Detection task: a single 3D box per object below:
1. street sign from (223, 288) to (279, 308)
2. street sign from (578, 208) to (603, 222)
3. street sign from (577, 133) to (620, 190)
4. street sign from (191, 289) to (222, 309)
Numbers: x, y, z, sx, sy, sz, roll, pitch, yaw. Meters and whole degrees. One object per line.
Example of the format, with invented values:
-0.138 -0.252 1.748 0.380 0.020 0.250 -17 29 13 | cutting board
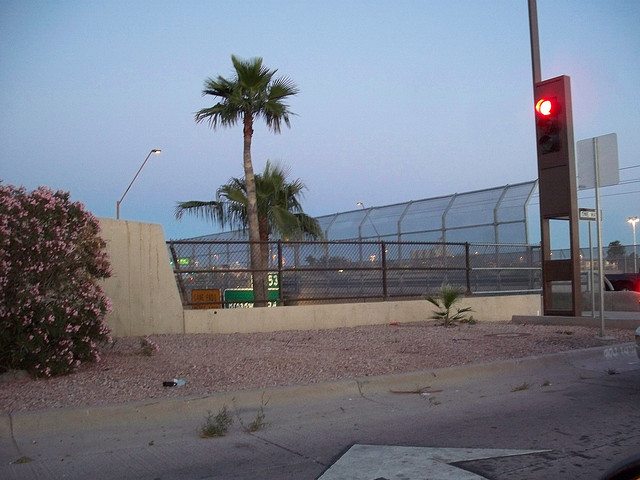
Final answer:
-1.749 1.476 14.544 1.394 0.497 0.942 0 2 -14 | street sign
5.803 -0.526 12.384 0.468 0.300 0.868 2 2 25 | street sign
5.944 -1.658 12.416 0.797 1.245 0.040 -3 38 26 | street sign
-2.759 1.447 14.010 0.734 0.491 0.455 0 2 -14 | street sign
